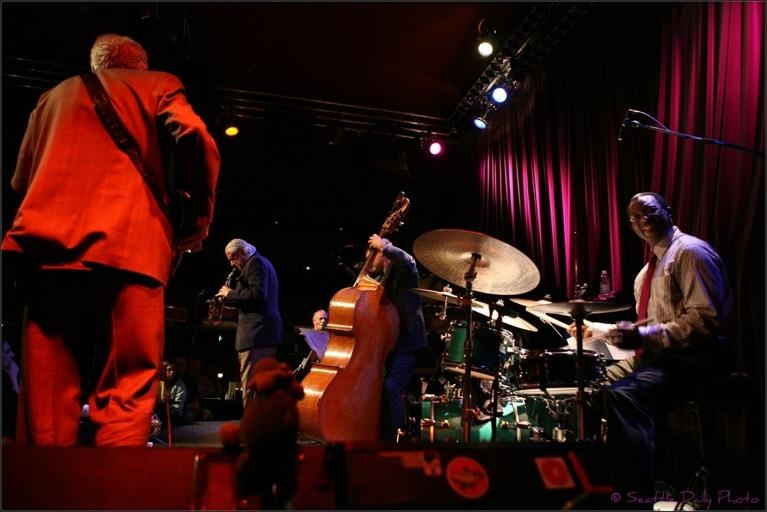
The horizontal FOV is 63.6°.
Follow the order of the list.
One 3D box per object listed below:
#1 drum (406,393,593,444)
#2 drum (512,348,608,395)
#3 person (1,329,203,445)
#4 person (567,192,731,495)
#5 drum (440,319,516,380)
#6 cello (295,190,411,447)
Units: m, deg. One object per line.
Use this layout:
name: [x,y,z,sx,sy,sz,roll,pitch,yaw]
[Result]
drum: [1.037,1.760,6.537,1.330,0.433,0.961,2,-22,-6]
drum: [1.598,1.029,5.470,0.757,0.286,0.748,1,-13,0]
person: [-1.866,0.823,3.847,0.739,0.729,0.602,-2,-19,31]
person: [2.101,0.550,4.760,0.925,2.393,0.744,-1,-18,28]
drum: [0.824,0.928,6.312,0.610,0.433,0.618,11,-6,1]
cello: [-0.242,0.484,5.982,0.649,2.586,0.759,2,-17,21]
